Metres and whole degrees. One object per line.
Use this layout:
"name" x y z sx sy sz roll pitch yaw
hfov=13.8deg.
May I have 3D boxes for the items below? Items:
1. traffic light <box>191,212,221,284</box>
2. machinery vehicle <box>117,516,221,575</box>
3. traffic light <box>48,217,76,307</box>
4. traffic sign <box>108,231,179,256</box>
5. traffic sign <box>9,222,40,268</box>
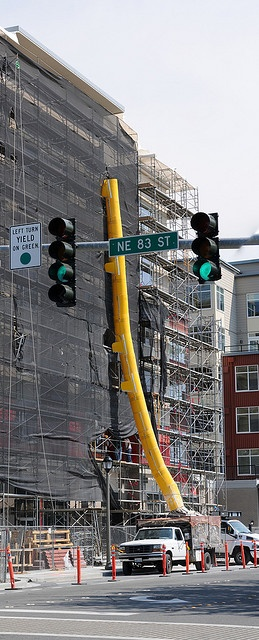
"traffic light" 1.075 -1.091 14.994 0.388 0.995 0.602 -3 -7 4
"machinery vehicle" 1.271 6.767 32.310 2.003 1.637 5.478 -6 -10 17
"traffic light" -0.969 -0.902 15.427 0.395 1.358 0.570 -2 -7 -5
"traffic sign" 0.229 -1.236 16.594 1.109 0.412 0.739 -4 -9 1
"traffic sign" -1.633 -1.219 16.964 0.666 0.800 0.323 -6 -8 24
